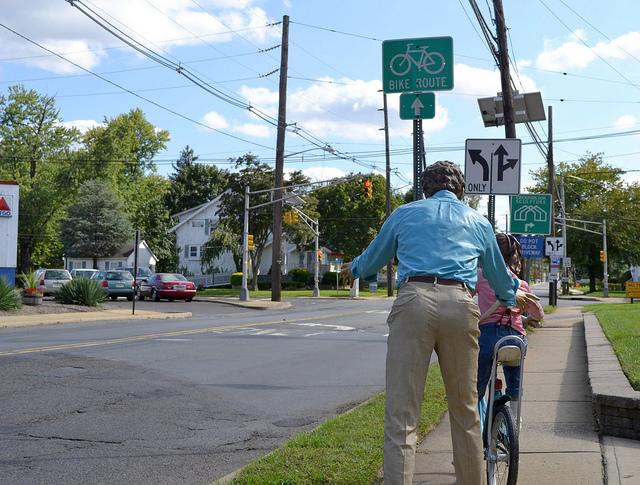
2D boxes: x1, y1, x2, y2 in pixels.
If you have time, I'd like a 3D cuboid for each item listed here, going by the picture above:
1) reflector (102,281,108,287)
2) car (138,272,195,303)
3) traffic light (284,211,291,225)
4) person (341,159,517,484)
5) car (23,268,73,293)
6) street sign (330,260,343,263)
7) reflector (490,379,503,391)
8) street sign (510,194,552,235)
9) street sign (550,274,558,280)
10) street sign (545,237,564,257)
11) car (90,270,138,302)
[{"bbox_3d":[-9.692,1.793,35.071,0.294,0.307,0.214,-1,-6,8],"label":"reflector"},{"bbox_3d":[-7.067,1.940,35.638,1.569,1.260,2.465,2,-4,-45],"label":"car"},{"bbox_3d":[-1.726,-1.400,42.425,0.650,0.682,0.180,5,-4,-12],"label":"traffic light"},{"bbox_3d":[1.115,0.721,7.528,1.301,3.135,0.627,-1,-2,-3],"label":"person"},{"bbox_3d":[-12.484,1.710,36.626,1.247,1.123,3.047,0,-3,-16],"label":"car"},{"bbox_3d":[1.641,1.812,80.268,1.671,0.241,0.120,1,-2,-38],"label":"street sign"},{"bbox_3d":[1.871,1.472,8.199,0.085,0.115,0.042,3,3,1],"label":"reflector"},{"bbox_3d":[4.915,-0.722,18.280,0.747,1.441,0.708,2,-2,12],"label":"street sign"},{"bbox_3d":[10.278,1.444,34.290,0.357,0.264,0.203,1,-18,2],"label":"street sign"},{"bbox_3d":[8.838,0.102,29.489,0.671,0.730,0.099,1,6,22],"label":"street sign"},{"bbox_3d":[-9.421,1.910,35.725,1.625,1.370,2.080,0,-3,-16],"label":"car"}]
